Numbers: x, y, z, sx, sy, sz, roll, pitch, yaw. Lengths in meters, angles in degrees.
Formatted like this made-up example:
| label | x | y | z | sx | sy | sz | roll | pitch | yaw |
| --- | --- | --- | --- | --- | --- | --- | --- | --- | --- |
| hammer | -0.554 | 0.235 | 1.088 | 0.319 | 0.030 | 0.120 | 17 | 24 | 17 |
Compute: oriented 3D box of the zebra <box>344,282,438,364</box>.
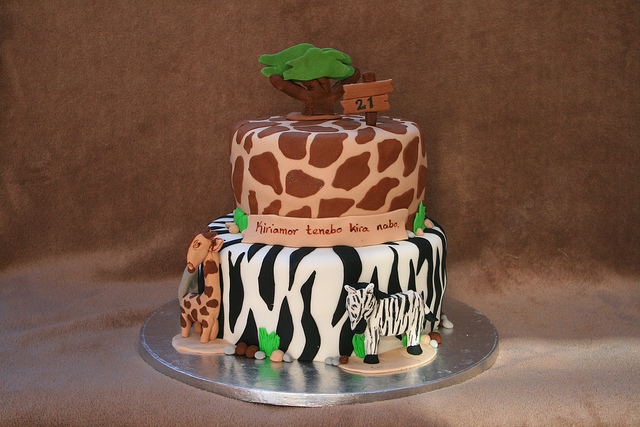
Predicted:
| label | x | y | z | sx | sy | sz | roll | pitch | yaw |
| --- | --- | --- | --- | --- | --- | --- | --- | --- | --- |
| zebra | 0.487 | 0.718 | 6.764 | 0.613 | 0.543 | 0.176 | -7 | 20 | -18 |
